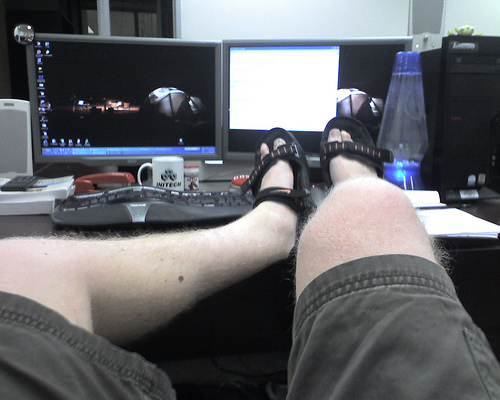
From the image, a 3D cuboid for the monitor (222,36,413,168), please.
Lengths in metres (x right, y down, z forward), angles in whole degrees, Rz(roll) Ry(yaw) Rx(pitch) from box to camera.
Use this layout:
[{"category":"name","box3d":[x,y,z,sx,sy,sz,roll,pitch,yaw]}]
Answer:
[{"category":"monitor","box3d":[0.130,-0.293,1.069,0.500,0.339,0.112,10,23,20]}]

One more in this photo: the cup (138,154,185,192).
[{"category":"cup","box3d":[-0.209,-0.052,0.980,0.111,0.093,0.076,1,11,3]}]

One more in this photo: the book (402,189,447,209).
[{"category":"book","box3d":[0.363,-0.014,0.882,0.081,0.045,0.088,0,10,-3]}]
